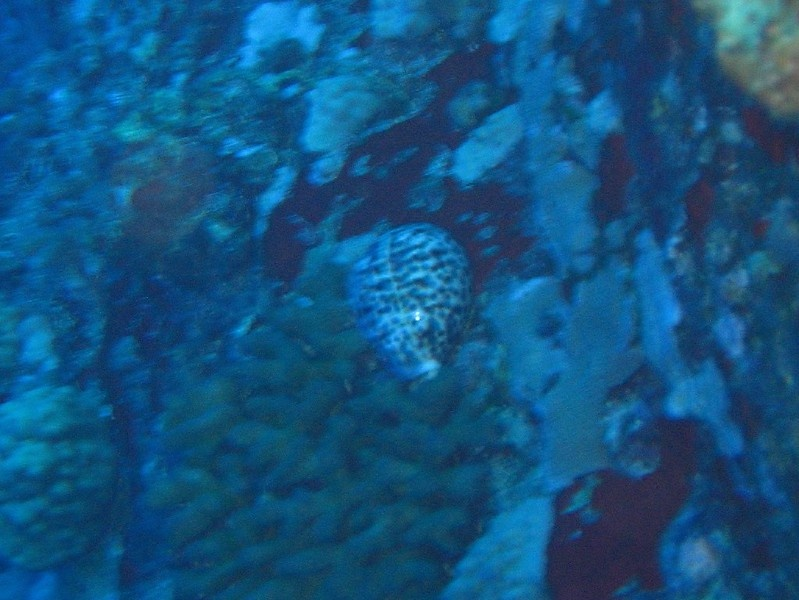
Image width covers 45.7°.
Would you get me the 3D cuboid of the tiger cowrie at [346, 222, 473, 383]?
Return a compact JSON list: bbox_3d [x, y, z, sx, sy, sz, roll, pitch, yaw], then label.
[{"bbox_3d":[0.024,0.013,1.077,0.153,0.171,0.056,-11,-39,4],"label":"tiger cowrie"}]
